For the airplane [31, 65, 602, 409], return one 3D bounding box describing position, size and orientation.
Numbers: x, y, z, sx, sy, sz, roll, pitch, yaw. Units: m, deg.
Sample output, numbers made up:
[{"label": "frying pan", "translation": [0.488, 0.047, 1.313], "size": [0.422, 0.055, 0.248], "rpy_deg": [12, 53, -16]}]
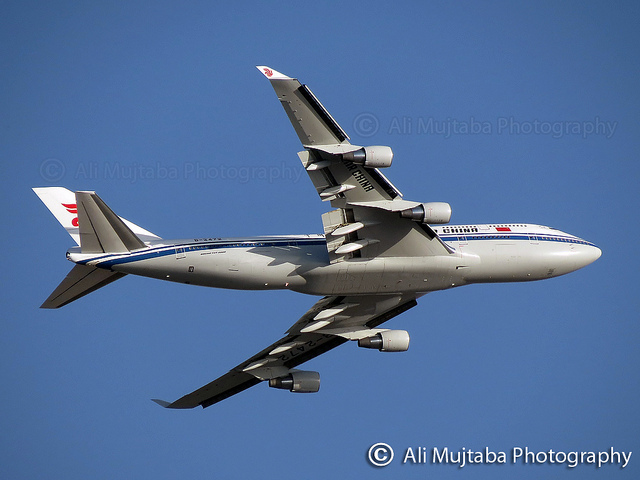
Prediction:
[{"label": "airplane", "translation": [0.473, 0.360, 39.789], "size": [20.313, 12.528, 4.568], "rpy_deg": [0, 29, -19]}]
